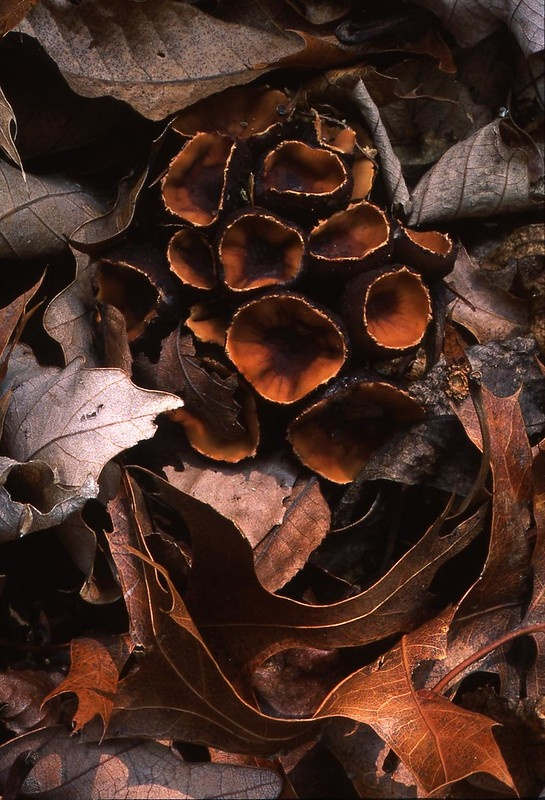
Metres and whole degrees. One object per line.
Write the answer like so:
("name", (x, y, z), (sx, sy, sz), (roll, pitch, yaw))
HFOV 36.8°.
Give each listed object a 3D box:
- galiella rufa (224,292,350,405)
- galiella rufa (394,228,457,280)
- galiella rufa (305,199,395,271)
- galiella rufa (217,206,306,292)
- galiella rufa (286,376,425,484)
("galiella rufa", (0.024, -0.099, 1.509), (0.152, 0.181, 0.188), (-36, 50, -28))
("galiella rufa", (0.296, -0.285, 1.620), (0.114, 0.102, 0.081), (-10, 35, -11))
("galiella rufa", (0.153, -0.299, 1.551), (0.169, 0.067, 0.117), (-20, 76, 3))
("galiella rufa", (-0.023, -0.273, 1.536), (0.174, 0.136, 0.059), (-3, -1, 1))
("galiella rufa", (0.156, 0.048, 1.538), (0.227, 0.205, 0.108), (-23, 45, -18))
